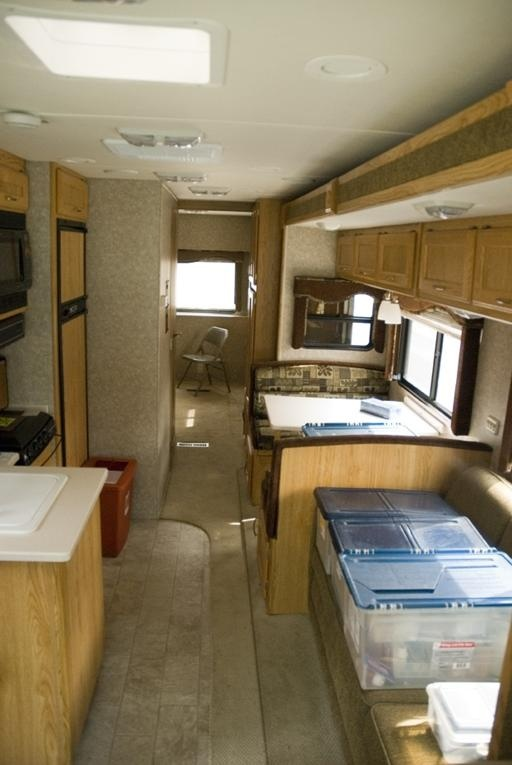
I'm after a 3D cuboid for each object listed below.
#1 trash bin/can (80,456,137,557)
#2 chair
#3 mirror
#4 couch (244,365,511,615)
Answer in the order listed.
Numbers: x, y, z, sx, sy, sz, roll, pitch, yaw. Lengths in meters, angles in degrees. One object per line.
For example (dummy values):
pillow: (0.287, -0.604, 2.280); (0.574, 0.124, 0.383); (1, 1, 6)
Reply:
trash bin/can: (-1.039, 0.873, 3.777); (0.329, 0.489, 0.544); (2, 6, -6)
chair: (-0.769, -0.344, 8.059); (0.679, 1.170, 0.725); (19, 16, 32)
mirror: (0.783, -0.644, 4.999); (0.587, 0.515, 0.197); (0, 14, -14)
couch: (0.587, 0.468, 3.244); (1.239, 0.916, 1.731); (2, 14, -1)
